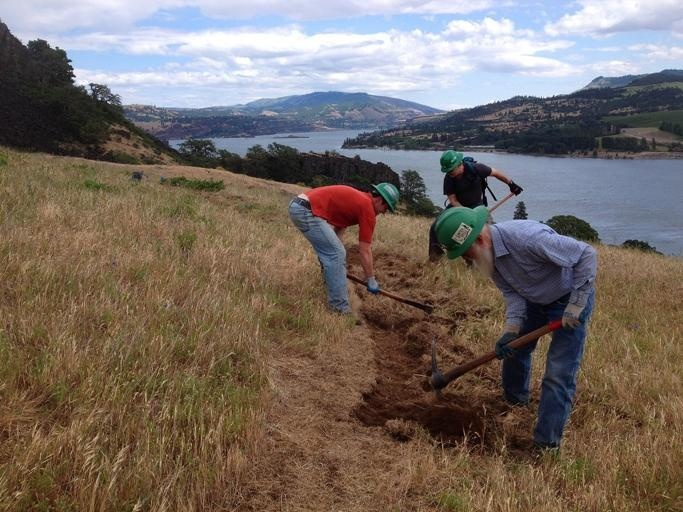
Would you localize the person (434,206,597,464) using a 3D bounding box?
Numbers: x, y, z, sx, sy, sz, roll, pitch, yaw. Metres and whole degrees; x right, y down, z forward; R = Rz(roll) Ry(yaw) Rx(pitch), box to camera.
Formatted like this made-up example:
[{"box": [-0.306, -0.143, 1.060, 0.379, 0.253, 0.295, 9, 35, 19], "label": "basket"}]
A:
[{"box": [2.115, 0.787, 6.795, 1.424, 2.803, 1.018, 8, 24, 27], "label": "person"}]

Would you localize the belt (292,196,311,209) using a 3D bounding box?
[{"box": [-0.594, -0.785, 8.671, 0.229, 0.086, 0.177, 26, 11, -21], "label": "belt"}]

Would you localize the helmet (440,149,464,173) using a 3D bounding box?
[{"box": [1.925, -1.623, 10.144, 0.397, 0.531, 0.499, 1, 22, 12], "label": "helmet"}]

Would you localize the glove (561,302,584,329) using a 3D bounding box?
[{"box": [2.530, 0.672, 6.389, 0.267, 0.124, 0.190, -56, 10, -23], "label": "glove"}]
